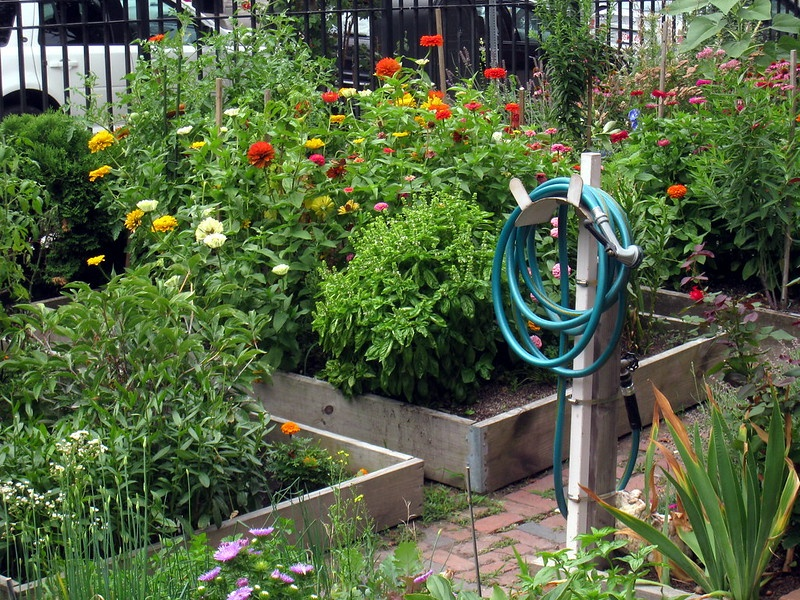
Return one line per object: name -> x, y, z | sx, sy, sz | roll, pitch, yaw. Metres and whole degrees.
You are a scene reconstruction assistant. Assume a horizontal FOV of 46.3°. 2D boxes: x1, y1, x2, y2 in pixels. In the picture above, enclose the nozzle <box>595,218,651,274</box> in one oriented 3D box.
nozzle -> 0.867, -0.228, 3.681 | 0.126, 0.215, 0.196 | -8, 7, -30
